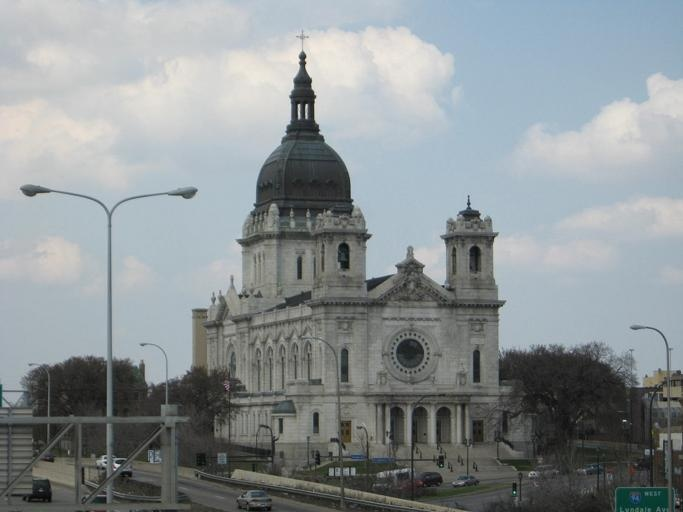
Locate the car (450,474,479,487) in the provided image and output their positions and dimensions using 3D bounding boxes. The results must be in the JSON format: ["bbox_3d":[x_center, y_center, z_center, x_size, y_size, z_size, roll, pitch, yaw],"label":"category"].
[{"bbox_3d":[11.474,20.264,187.662,2.089,0.751,0.970,5,-11,-26],"label":"car"}]

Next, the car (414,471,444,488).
[{"bbox_3d":[7.810,19.757,183.870,1.186,0.818,2.091,-7,-11,37],"label":"car"}]

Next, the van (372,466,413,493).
[{"bbox_3d":[4.407,19.419,179.736,2.660,1.407,1.759,3,-5,15],"label":"van"}]
